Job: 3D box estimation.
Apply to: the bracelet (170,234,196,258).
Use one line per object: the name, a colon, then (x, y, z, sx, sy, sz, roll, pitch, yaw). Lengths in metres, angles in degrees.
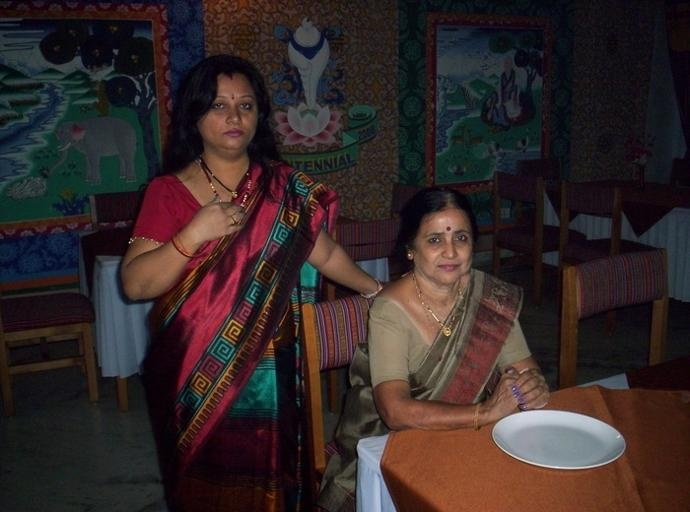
bracelet: (-0.499, -0.033, 1.771, 0.060, 0.017, 0.062, 38, -6, 29)

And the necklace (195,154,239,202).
necklace: (-0.444, -0.244, 1.989, 0.094, 0.178, 0.040, -36, 14, -37)

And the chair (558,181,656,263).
chair: (1.940, -0.241, 4.258, 0.435, 0.807, 0.439, -10, 21, -19)

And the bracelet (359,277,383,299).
bracelet: (0.095, 0.126, 2.131, 0.077, 0.063, 0.049, 12, -23, 15)

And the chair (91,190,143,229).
chair: (-1.677, -0.341, 4.213, 0.443, 0.334, 0.252, -3, 18, -18)
